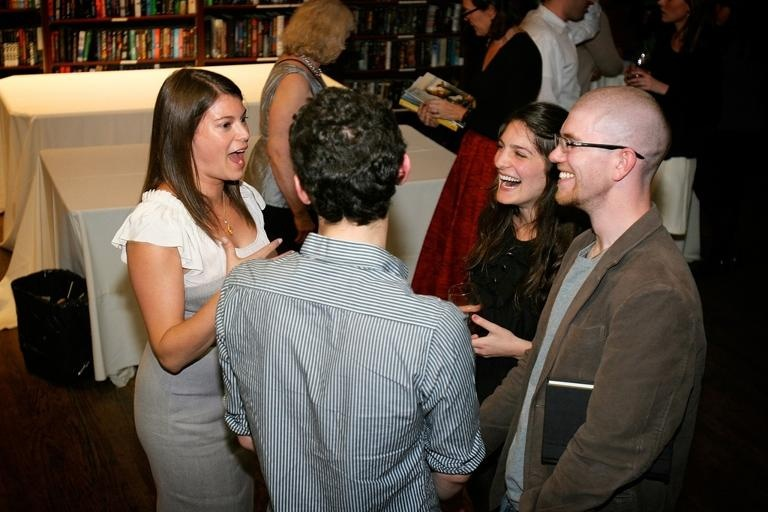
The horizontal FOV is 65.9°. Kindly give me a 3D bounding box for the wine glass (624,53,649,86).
[{"bbox_3d":[1.791,-1.294,4.156,0.176,0.217,0.381,10,14,23],"label":"wine glass"}]

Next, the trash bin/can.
[{"bbox_3d":[-2.029,0.437,3.640,0.511,0.621,0.374,15,20,32],"label":"trash bin/can"}]

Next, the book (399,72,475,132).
[{"bbox_3d":[0.377,-1.105,4.124,0.448,0.154,0.463,30,44,9],"label":"book"}]
